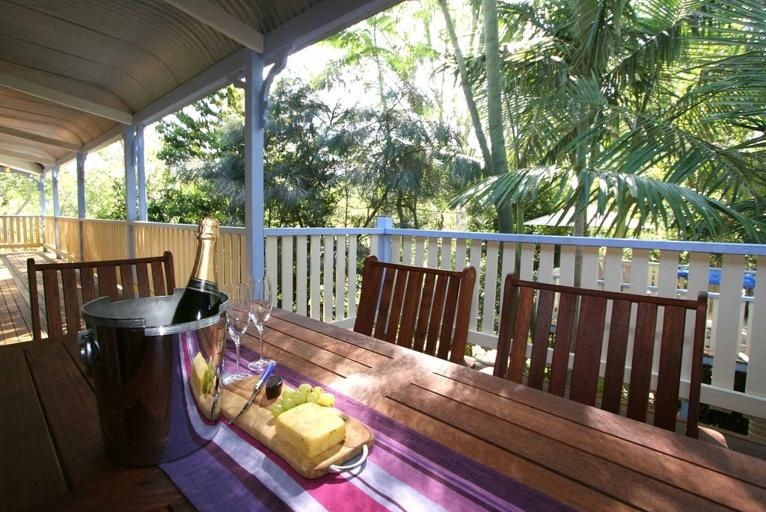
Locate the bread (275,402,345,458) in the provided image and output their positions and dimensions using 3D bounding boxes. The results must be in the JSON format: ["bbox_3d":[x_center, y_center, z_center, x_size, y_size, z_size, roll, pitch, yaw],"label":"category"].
[{"bbox_3d":[-0.240,0.586,1.710,0.230,0.150,0.100,-2,4,-14],"label":"bread"}]

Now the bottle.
[{"bbox_3d":[-0.660,0.072,1.833,0.140,0.443,0.152,2,7,0],"label":"bottle"}]

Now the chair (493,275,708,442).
[{"bbox_3d":[0.972,0.370,2.412,0.888,0.908,0.674,5,4,31],"label":"chair"}]

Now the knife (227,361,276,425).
[{"bbox_3d":[-0.453,0.484,1.825,0.067,0.025,0.304,8,30,8],"label":"knife"}]

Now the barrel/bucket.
[{"bbox_3d":[-0.730,0.384,1.820,0.485,0.558,0.494,1,5,0],"label":"barrel/bucket"}]

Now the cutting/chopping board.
[{"bbox_3d":[-0.331,0.699,1.820,0.489,0.038,0.243,19,23,35],"label":"cutting/chopping board"}]
